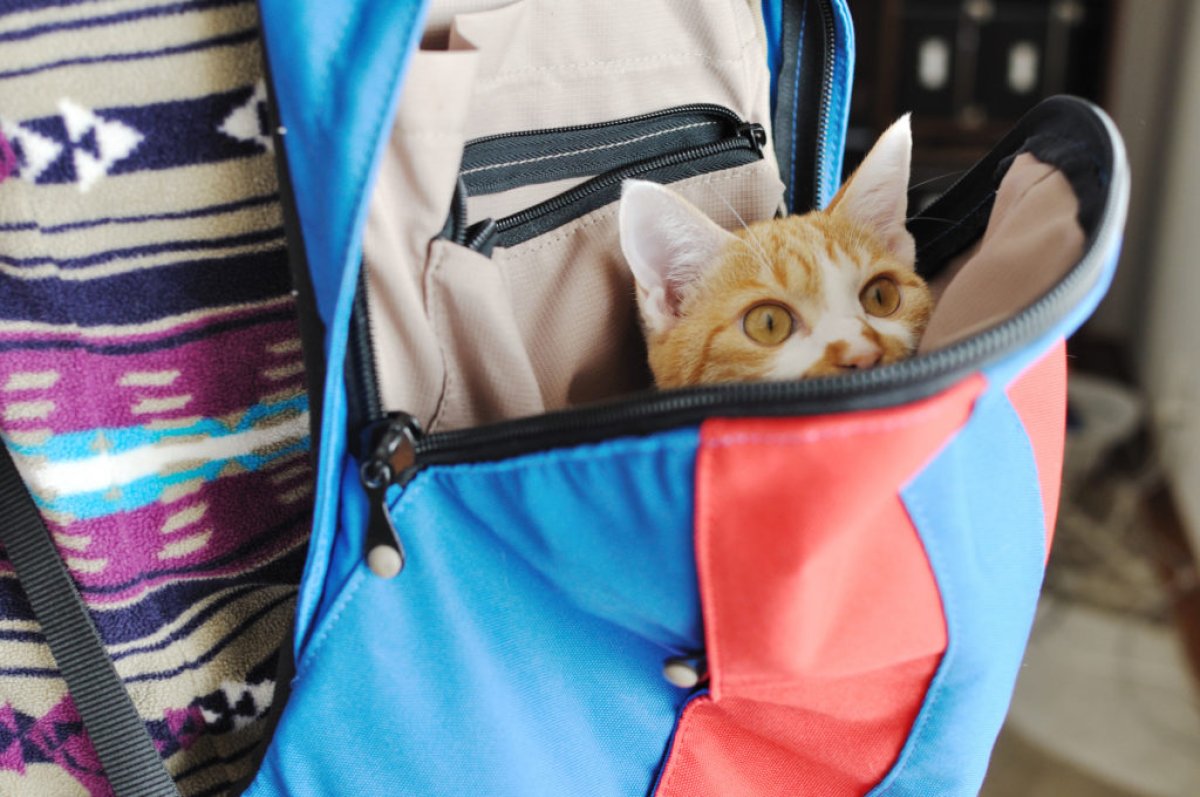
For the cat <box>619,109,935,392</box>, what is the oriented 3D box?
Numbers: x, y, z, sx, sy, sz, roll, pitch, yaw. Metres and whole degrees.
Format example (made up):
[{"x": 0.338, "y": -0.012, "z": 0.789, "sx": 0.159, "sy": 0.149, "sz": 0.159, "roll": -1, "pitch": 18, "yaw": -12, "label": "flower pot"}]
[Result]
[{"x": 0.137, "y": -0.116, "z": 0.992, "sx": 0.161, "sy": 0.209, "sz": 0.109, "roll": -17, "pitch": -8, "yaw": -24, "label": "cat"}]
